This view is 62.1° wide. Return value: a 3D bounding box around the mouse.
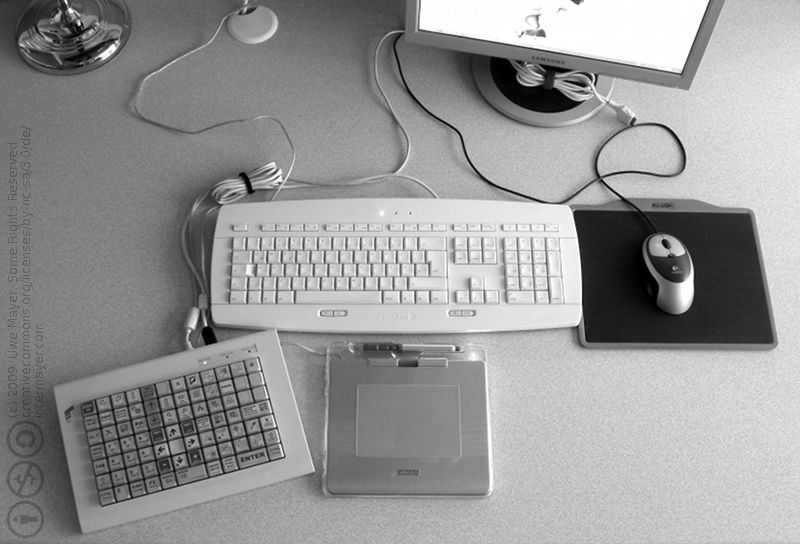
[{"bbox_3d":[0.460,-0.015,1.148,0.088,0.051,0.152,-3,53,6],"label":"mouse"}]
